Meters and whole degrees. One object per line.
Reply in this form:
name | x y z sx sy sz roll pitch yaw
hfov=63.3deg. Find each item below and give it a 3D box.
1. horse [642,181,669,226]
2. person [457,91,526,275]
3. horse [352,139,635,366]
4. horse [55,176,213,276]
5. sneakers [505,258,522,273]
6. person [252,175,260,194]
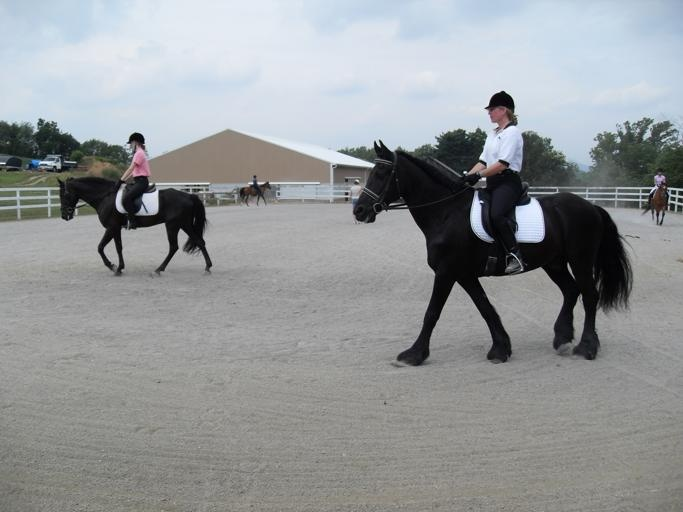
horse | 15.924 -2.496 27.756 0.711 1.797 3.305 2 -8 24
person | 1.945 -0.899 6.909 0.729 2.254 0.891 1 10 3
horse | 2.000 0.052 7.186 3.752 2.675 0.980 0 -2 -5
horse | -4.909 -0.766 13.326 3.701 2.222 1.471 2 10 10
sneakers | 2.143 0.112 6.773 0.245 0.203 0.207 1 9 6
person | -7.776 -6.493 50.142 0.651 1.392 2.924 -1 9 -9
